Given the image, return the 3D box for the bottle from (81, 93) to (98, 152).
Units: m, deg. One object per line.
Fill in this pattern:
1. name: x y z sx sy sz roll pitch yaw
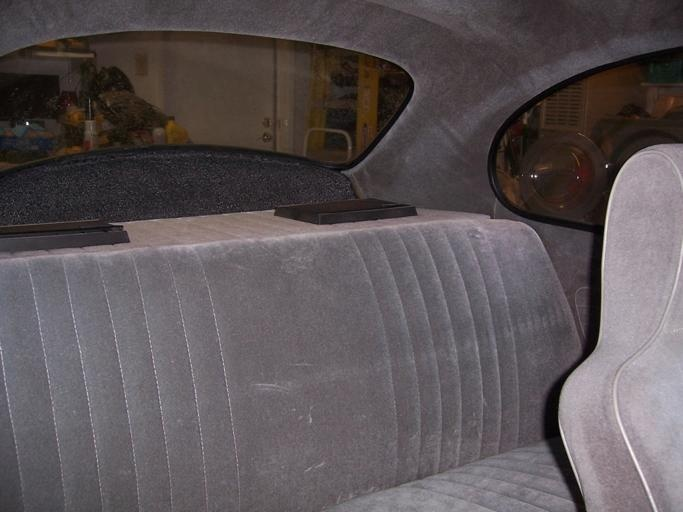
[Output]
1. bottle: -0.668 -0.352 1.875 0.039 0.135 0.077 -6 9 -20

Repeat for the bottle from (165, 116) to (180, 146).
1. bottle: -0.477 -0.357 1.982 0.034 0.073 0.051 -5 9 -13
